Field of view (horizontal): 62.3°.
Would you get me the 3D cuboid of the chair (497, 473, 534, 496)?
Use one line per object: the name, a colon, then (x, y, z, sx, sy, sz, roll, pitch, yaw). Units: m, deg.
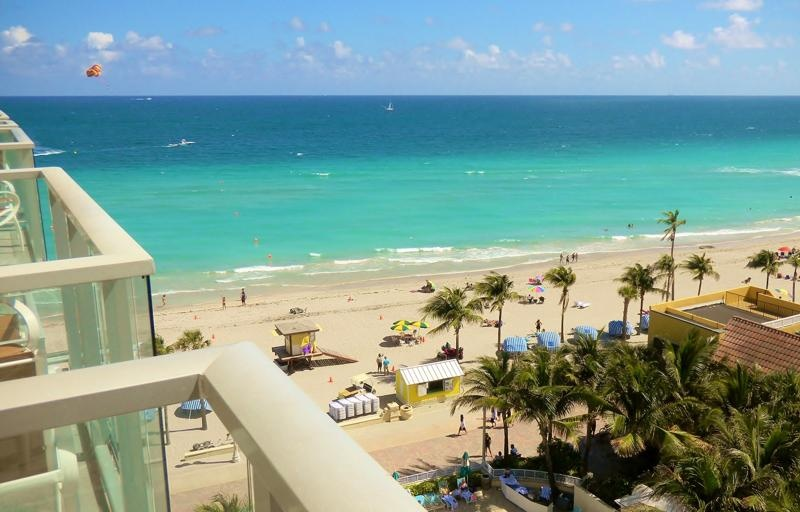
chair: (3.605, 7.029, 20.580, 0.513, 0.252, 1.220, -7, 12, -27)

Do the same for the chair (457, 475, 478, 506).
chair: (2.088, 7.349, 20.830, 0.410, 0.437, 0.693, -3, 12, -19)

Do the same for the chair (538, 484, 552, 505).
chair: (4.370, 7.130, 19.775, 0.323, 0.174, 0.418, 2, 25, 15)

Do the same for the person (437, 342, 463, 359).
person: (2.642, 4.978, 34.715, 1.228, 0.685, 0.652, -3, 6, 13)

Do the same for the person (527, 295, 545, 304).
person: (9.252, 2.896, 44.938, 1.269, 0.367, 1.123, -1, 11, 2)
